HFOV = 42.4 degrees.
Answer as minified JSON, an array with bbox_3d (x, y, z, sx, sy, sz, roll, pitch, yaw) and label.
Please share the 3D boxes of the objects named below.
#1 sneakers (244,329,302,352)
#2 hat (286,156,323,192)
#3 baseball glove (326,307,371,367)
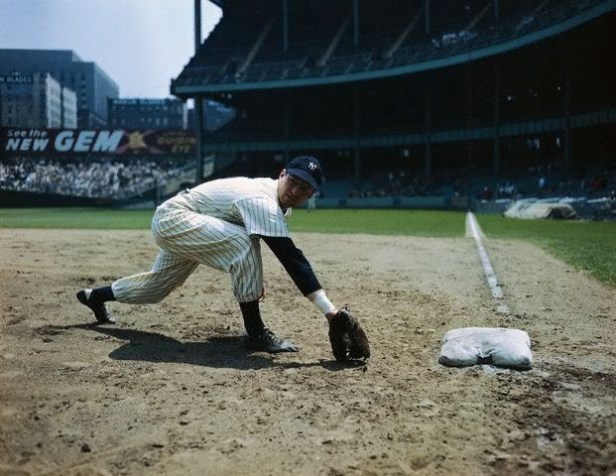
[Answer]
[{"bbox_3d":[-0.386,1.099,8.750,0.611,0.281,0.252,1,-2,5],"label":"sneakers"},{"bbox_3d":[-0.055,-0.745,8.654,0.313,0.212,0.406,39,7,-19],"label":"hat"},{"bbox_3d":[0.443,1.050,8.478,0.264,0.638,0.365,-19,23,17],"label":"baseball glove"}]
